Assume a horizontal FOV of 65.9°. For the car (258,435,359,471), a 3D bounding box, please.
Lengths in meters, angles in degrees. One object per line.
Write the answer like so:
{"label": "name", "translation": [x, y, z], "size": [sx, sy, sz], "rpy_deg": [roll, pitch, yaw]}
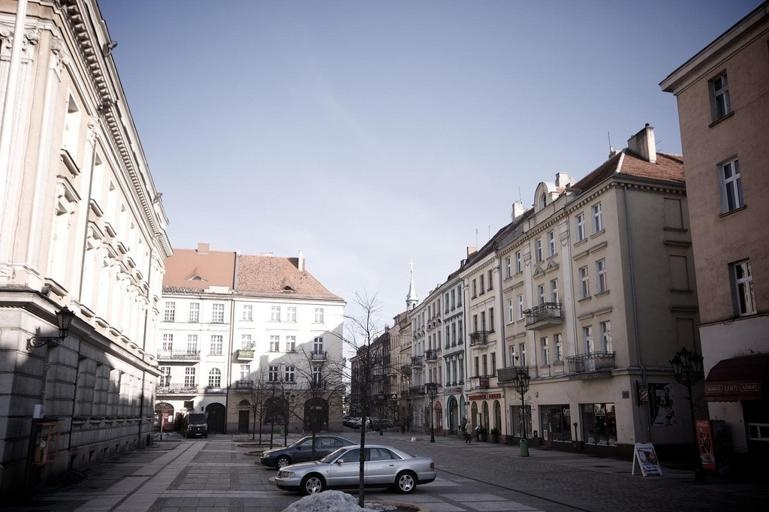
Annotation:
{"label": "car", "translation": [-3.638, 9.156, 28.451], "size": [4.561, 1.546, 1.992], "rpy_deg": [0, -17, -2]}

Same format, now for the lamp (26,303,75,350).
{"label": "lamp", "translation": [-12.457, 2.704, 22.119], "size": [1.487, 1.802, 0.663], "rpy_deg": [4, 10, -38]}

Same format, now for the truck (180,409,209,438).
{"label": "truck", "translation": [-18.792, 16.861, 58.922], "size": [1.701, 1.692, 3.182], "rpy_deg": [6, -20, -22]}
